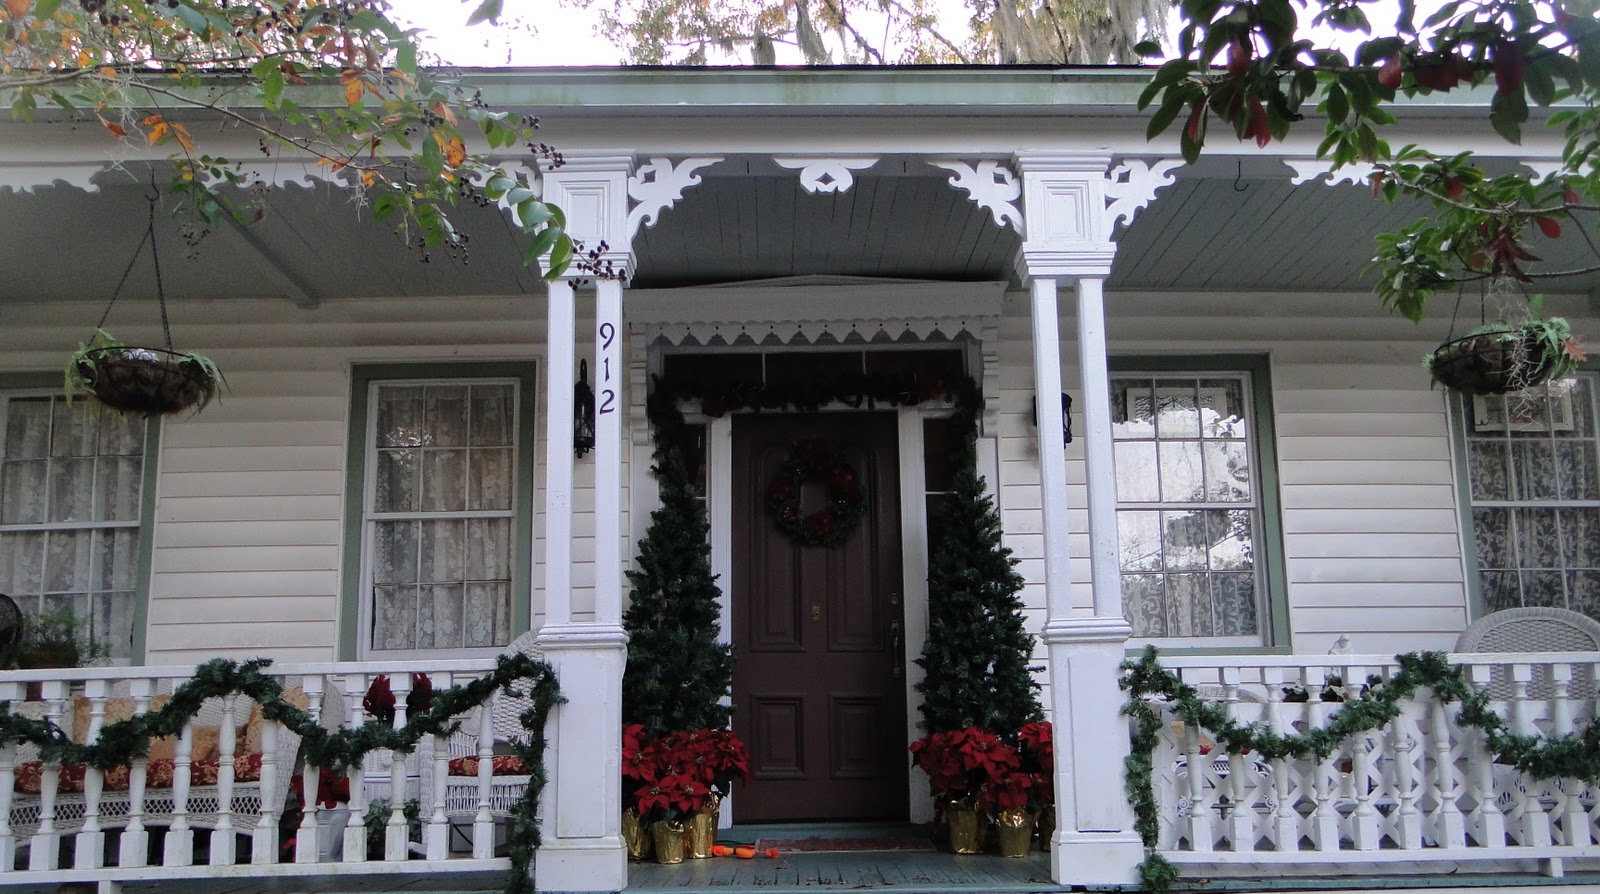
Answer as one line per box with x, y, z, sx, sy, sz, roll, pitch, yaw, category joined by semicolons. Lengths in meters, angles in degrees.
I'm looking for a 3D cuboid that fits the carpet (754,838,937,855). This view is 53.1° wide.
0.267;2.747;10.996;1.176;0.085;0.561;1;-11;-5;carpet

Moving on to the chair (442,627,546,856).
-2.099;1.980;10.896;0.897;1.397;0.595;0;-4;-3;chair

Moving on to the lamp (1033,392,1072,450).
1.937;-0.193;11.716;0.369;0.447;0.482;-2;4;1;lamp

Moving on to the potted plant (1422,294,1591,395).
4.823;-0.618;10.908;0.747;0.431;0.797;0;-14;-5;potted plant

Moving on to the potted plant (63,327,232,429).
-4.384;-0.439;10.654;0.827;0.307;0.779;8;-11;-25;potted plant

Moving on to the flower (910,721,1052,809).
1.272;2.169;10.792;0.713;0.396;0.658;2;-9;-6;flower

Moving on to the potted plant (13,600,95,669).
-5.420;1.439;11.881;0.612;0.565;0.478;2;-16;-12;potted plant

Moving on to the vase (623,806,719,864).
-0.850;2.571;10.655;0.459;0.187;0.373;5;-8;-29;vase

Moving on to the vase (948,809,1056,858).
1.339;2.595;10.775;0.565;0.194;0.351;0;-7;-2;vase

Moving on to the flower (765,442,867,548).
0.128;0.374;12.020;0.813;0.758;0.225;-2;-9;-1;flower

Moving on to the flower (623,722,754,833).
-0.789;2.166;10.698;0.707;0.358;0.715;-5;15;-42;flower
